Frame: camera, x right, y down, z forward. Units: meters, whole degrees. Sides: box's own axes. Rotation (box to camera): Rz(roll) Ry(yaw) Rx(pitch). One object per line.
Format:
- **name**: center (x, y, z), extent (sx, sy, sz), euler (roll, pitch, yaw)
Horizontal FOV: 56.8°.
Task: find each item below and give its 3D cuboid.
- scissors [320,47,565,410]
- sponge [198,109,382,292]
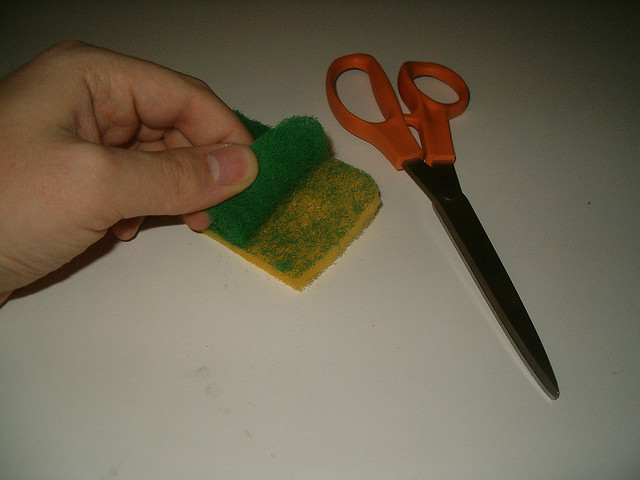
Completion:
- **scissors**: center (0.200, -0.085, 1.123), extent (0.272, 0.751, 0.078), euler (-20, -24, -5)
- **sponge**: center (-0.047, -0.070, 0.971), extent (0.286, 0.252, 0.155), euler (14, -22, 4)
